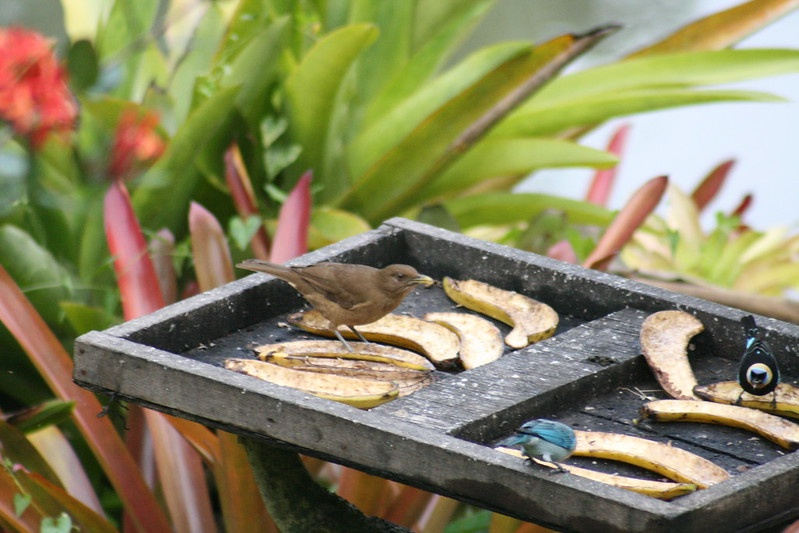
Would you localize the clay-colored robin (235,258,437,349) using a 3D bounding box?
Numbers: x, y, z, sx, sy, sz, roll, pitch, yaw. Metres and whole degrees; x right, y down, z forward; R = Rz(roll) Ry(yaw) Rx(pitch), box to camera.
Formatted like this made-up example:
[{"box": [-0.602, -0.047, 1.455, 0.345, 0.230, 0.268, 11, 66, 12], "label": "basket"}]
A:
[{"box": [-0.170, 0.058, 2.235, 0.495, 0.194, 0.140, 14, 19, 20], "label": "clay-colored robin"}]
